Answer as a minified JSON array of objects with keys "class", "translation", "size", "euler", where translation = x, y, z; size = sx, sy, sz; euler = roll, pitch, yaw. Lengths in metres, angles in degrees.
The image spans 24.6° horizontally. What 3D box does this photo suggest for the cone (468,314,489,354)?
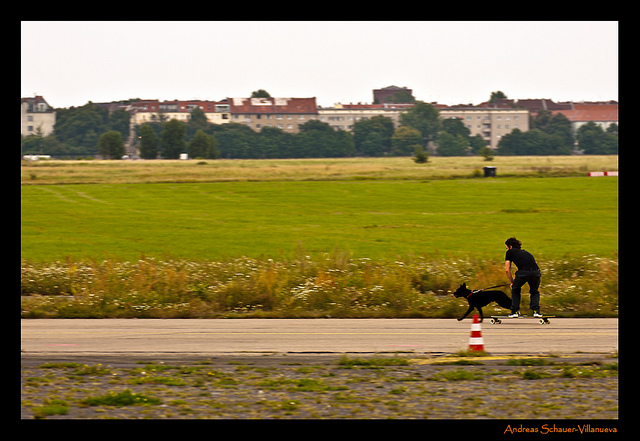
[{"class":"cone","translation":[5.457,3.984,50.980],"size":[0.689,1.310,0.863],"euler":[2,16,3]}]
